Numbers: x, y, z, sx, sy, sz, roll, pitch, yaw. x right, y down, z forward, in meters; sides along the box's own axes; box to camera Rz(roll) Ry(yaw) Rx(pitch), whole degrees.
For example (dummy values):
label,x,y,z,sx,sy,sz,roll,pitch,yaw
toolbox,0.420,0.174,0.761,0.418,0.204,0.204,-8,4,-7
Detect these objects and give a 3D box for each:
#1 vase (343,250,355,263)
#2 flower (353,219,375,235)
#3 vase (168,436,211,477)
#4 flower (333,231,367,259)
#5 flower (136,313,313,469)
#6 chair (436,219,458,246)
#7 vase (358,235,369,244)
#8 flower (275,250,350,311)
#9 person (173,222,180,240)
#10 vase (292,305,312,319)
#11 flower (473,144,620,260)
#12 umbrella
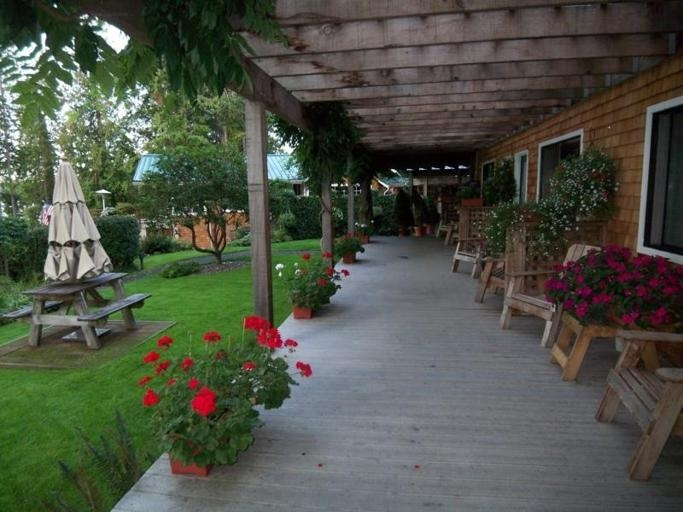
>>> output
label,x,y,z,sx,sy,sz,roll,pitch,yaw
vase,0.169,0.001,9.307,0.193,0.199,0.228,6,-10,-39
flower,0.626,-0.757,12.316,0.501,0.399,0.550,-2,3,13
vase,-0.922,1.204,2.754,0.211,0.150,0.223,1,-5,3
flower,0.141,-0.228,9.358,0.490,0.400,0.529,-1,7,7
flower,-0.832,0.787,3.105,1.059,0.845,1.086,10,17,9
chair,3.009,-0.731,12.902,0.632,1.021,0.772,2,4,12
vase,0.649,-0.487,12.529,0.263,0.215,0.274,-3,6,-12
flower,-0.416,0.396,5.690,0.683,0.626,0.878,0,2,-12
person,-6.533,-0.956,18.230,0.294,0.576,0.879,-6,14,-19
vase,-0.470,0.644,5.442,0.154,0.110,0.156,0,0,-27
flower,2.501,-0.508,5.805,1.138,0.751,1.468,-4,-9,-29
umbrella,-3.493,-0.417,5.929,0.732,1.587,0.528,-4,13,-14
